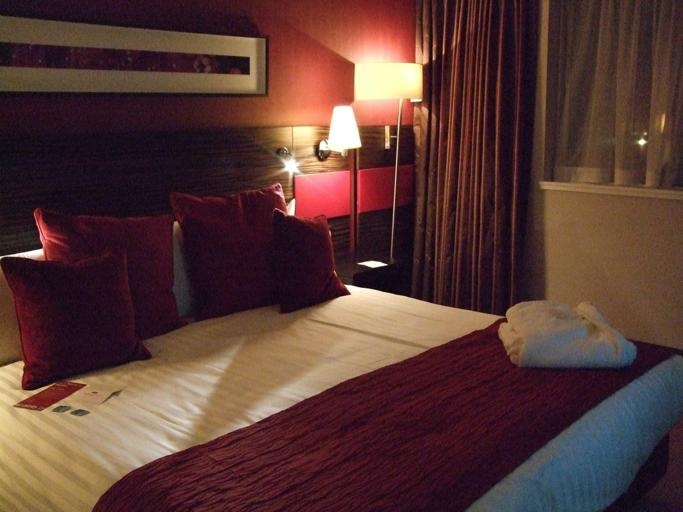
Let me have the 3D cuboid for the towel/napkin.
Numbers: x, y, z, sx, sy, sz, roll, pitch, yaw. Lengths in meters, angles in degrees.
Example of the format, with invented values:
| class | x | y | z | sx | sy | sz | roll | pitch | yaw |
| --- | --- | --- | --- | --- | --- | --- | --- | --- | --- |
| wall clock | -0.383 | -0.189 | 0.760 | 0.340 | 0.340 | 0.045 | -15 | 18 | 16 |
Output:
| class | x | y | z | sx | sy | sz | roll | pitch | yaw |
| --- | --- | --- | --- | --- | --- | --- | --- | --- | --- |
| towel/napkin | 1.039 | 0.362 | 2.347 | 0.551 | 0.176 | 0.438 | -1 | 13 | 5 |

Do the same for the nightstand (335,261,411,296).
| class | x | y | z | sx | sy | sz | roll | pitch | yaw |
| --- | --- | --- | --- | --- | --- | --- | --- | --- | --- |
| nightstand | 0.248 | 0.119 | 3.823 | 0.255 | 0.349 | 0.482 | 15 | 18 | 38 |

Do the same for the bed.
| class | x | y | z | sx | sy | sz | roll | pitch | yaw |
| --- | --- | --- | --- | --- | --- | --- | --- | --- | --- |
| bed | 0.041 | 0.223 | 2.507 | 1.943 | 1.318 | 1.998 | 2 | 5 | 41 |

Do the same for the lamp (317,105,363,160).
| class | x | y | z | sx | sy | sz | roll | pitch | yaw |
| --- | --- | --- | --- | --- | --- | --- | --- | --- | --- |
| lamp | -0.039 | -0.931 | 3.795 | 0.294 | 0.445 | 0.423 | -9 | 8 | -40 |
